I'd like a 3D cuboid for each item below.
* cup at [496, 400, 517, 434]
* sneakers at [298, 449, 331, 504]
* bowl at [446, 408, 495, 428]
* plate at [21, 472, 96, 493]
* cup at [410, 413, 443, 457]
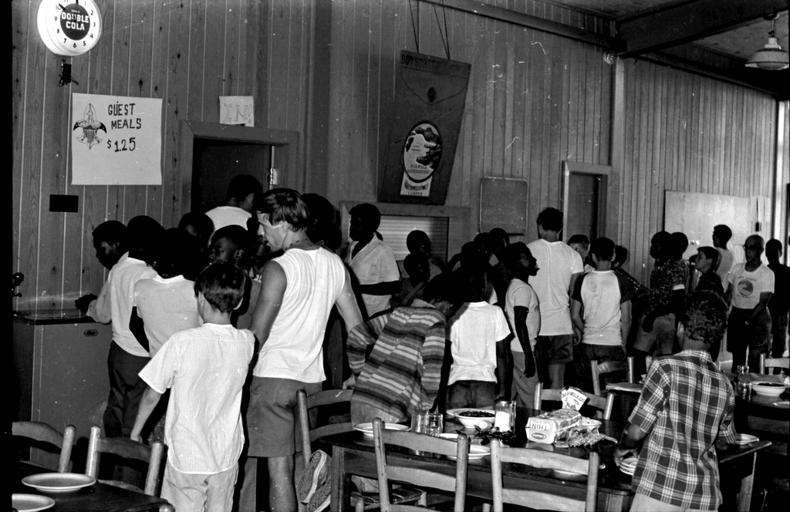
[{"bbox_3d":[0.731,1.046,5.986,0.140,0.326,0.165,-1,0,6],"label":"cup"},{"bbox_3d":[-0.530,1.415,5.899,0.185,0.360,0.095,7,-6,45],"label":"sneakers"},{"bbox_3d":[0.519,1.087,6.209,0.322,0.091,0.302,4,1,0],"label":"bowl"},{"bbox_3d":[-1.938,1.290,5.231,0.397,0.085,0.216,4,1,16],"label":"plate"},{"bbox_3d":[0.216,1.079,5.975,0.211,0.160,0.225,3,1,0],"label":"cup"}]
